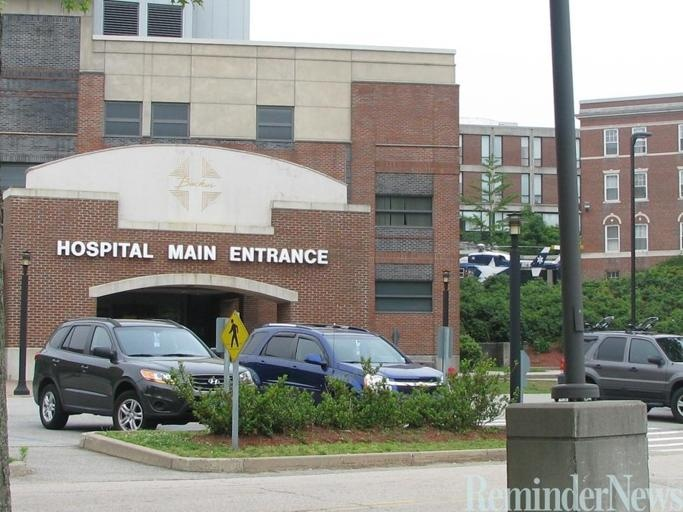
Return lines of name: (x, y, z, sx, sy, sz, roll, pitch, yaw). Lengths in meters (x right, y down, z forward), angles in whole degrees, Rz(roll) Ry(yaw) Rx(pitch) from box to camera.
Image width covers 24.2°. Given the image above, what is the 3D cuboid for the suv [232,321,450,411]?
suv: (-0.240, 3.450, 50.210, 5.473, 2.145, 2.722, -6, -8, 39)
